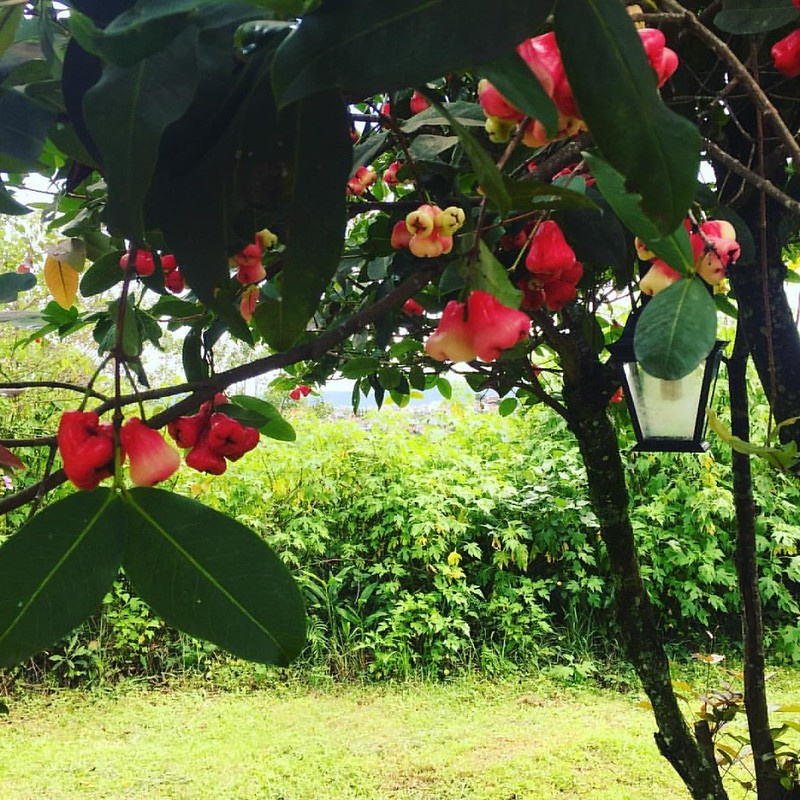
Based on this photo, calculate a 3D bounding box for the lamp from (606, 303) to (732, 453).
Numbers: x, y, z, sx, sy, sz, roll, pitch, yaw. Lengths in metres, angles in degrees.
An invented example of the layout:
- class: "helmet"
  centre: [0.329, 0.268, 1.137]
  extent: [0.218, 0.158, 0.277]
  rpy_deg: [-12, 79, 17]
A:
- class: "lamp"
  centre: [0.638, -0.042, 2.004]
  extent: [0.287, 0.296, 0.286]
  rpy_deg: [6, -2, 28]

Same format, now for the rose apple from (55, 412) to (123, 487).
- class: "rose apple"
  centre: [-0.313, 0.049, 0.902]
  extent: [0.050, 0.073, 0.053]
  rpy_deg: [-2, 0, -19]

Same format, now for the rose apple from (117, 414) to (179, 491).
- class: "rose apple"
  centre: [-0.249, 0.051, 0.904]
  extent: [0.056, 0.060, 0.073]
  rpy_deg: [-2, 0, -14]

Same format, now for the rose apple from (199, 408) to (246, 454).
- class: "rose apple"
  centre: [-0.229, 0.041, 1.177]
  extent: [0.039, 0.035, 0.071]
  rpy_deg: [-24, 22, -8]
